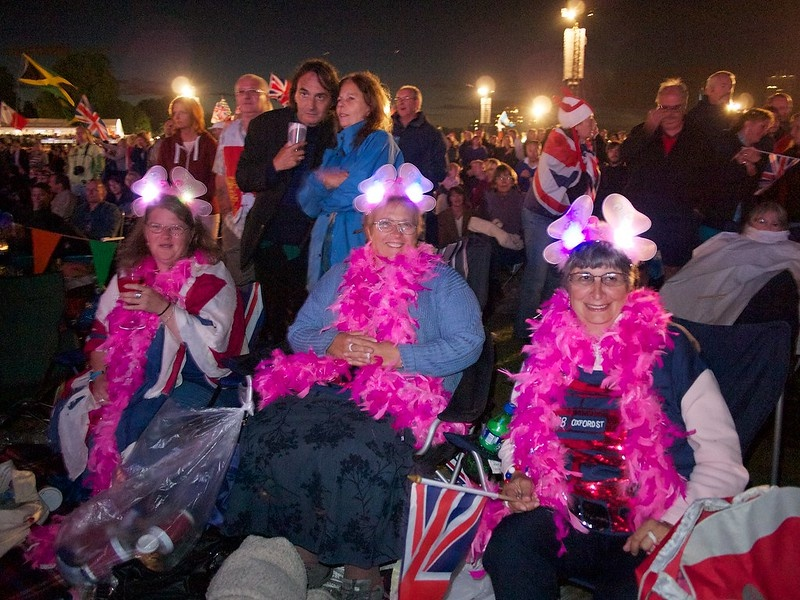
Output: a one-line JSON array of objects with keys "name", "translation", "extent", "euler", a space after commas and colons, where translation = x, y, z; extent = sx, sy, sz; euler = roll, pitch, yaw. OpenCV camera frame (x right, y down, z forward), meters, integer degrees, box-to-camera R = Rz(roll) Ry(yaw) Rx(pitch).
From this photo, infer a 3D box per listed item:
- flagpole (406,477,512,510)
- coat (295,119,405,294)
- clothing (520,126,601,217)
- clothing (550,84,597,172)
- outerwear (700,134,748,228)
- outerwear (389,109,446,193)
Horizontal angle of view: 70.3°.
[{"name": "flagpole", "translation": [0.226, 0.744, 2.237], "extent": [0.401, 0.167, 0.101], "euler": [-1, 11, -8]}, {"name": "coat", "translation": [-0.307, -0.610, 3.701], "extent": [0.594, 1.157, 0.485], "euler": [3, 9, 35]}, {"name": "clothing", "translation": [1.467, -1.170, 5.186], "extent": [0.550, 0.704, 0.627], "euler": [13, 25, 13]}, {"name": "clothing", "translation": [1.597, -1.630, 5.191], "extent": [0.352, 0.565, 0.817], "euler": [4, 11, 17]}, {"name": "outerwear", "translation": [2.912, -1.098, 5.118], "extent": [0.342, 0.886, 1.283], "euler": [7, 13, 30]}, {"name": "outerwear", "translation": [0.183, -1.397, 4.961], "extent": [0.349, 0.424, 0.237], "euler": [-12, 47, -3]}]
